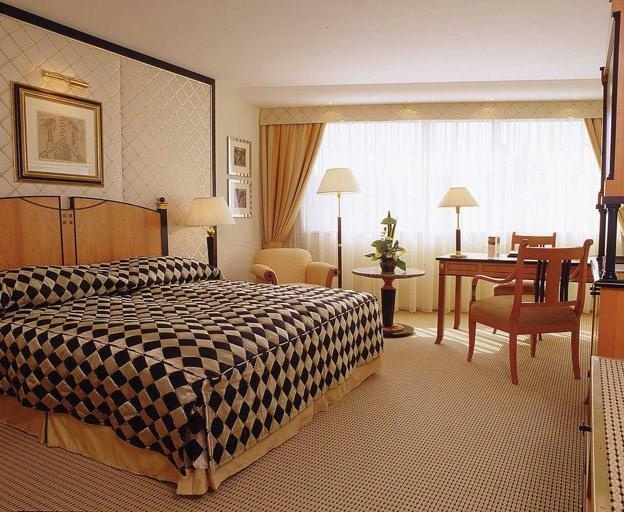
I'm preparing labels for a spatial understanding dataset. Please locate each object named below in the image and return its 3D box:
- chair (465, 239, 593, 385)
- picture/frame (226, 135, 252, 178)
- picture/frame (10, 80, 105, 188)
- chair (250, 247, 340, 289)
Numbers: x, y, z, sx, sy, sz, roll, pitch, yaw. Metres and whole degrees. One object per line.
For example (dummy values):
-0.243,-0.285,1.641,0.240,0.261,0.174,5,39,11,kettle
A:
1.626,0.402,3.524,0.833,1.067,0.525,4,8,33,chair
-0.924,-1.233,5.673,0.035,0.503,0.558,1,3,22,picture/frame
-2.096,-0.991,3.713,0.084,0.973,0.899,4,5,30,picture/frame
-0.247,0.121,5.113,0.589,0.690,0.541,0,-5,-22,chair
